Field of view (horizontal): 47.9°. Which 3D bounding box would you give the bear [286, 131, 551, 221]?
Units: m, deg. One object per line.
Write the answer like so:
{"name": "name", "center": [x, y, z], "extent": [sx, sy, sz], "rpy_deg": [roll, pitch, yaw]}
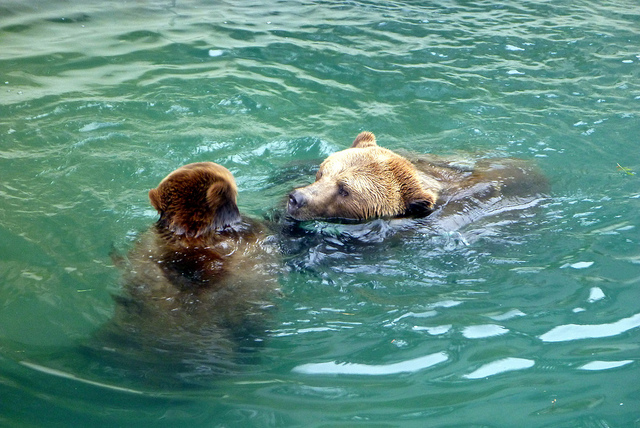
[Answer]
{"name": "bear", "center": [1.193, -0.361, 8.715], "extent": [3.095, 0.698, 1.183], "rpy_deg": [1, 35, -1]}
